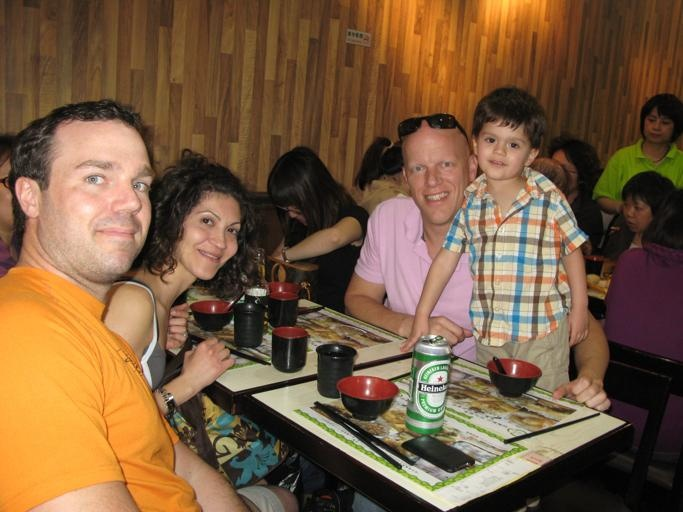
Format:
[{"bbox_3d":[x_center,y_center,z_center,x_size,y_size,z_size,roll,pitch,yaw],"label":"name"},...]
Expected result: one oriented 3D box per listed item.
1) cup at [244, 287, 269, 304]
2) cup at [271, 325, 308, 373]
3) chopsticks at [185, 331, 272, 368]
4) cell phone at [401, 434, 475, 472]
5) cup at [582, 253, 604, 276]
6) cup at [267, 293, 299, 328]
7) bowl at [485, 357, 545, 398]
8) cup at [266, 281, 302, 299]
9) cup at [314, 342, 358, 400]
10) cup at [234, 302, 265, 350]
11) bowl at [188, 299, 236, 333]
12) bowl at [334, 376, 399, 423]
[{"bbox_3d":[-0.347,0.156,2.054,0.075,0.051,0.071,4,2,0],"label":"cup"},{"bbox_3d":[-0.150,0.297,1.580,0.149,0.119,0.107,0,7,-20],"label":"cup"},{"bbox_3d":[-0.371,0.312,1.653,0.242,0.029,0.030,17,-1,1],"label":"chopsticks"},{"bbox_3d":[0.224,0.436,1.156,0.095,0.090,0.070,9,6,40],"label":"cell phone"},{"bbox_3d":[1.661,0.064,3.303,0.171,0.137,0.183,1,-3,0],"label":"cup"},{"bbox_3d":[-0.262,0.211,1.937,0.184,0.126,0.112,2,9,0],"label":"cup"},{"bbox_3d":[0.514,0.347,1.456,0.151,0.085,0.130,1,7,7],"label":"bowl"},{"bbox_3d":[-0.245,0.135,2.056,0.091,0.035,0.075,-1,9,-27],"label":"cup"},{"bbox_3d":[-0.021,0.326,1.462,0.133,0.128,0.138,3,3,0],"label":"cup"},{"bbox_3d":[-0.328,0.233,1.805,0.124,0.158,0.188,2,-1,-4],"label":"cup"},{"bbox_3d":[-0.485,0.218,1.878,0.139,0.075,0.135,2,1,0],"label":"bowl"},{"bbox_3d":[0.063,0.364,1.273,0.158,0.065,0.146,4,9,-1],"label":"bowl"}]
